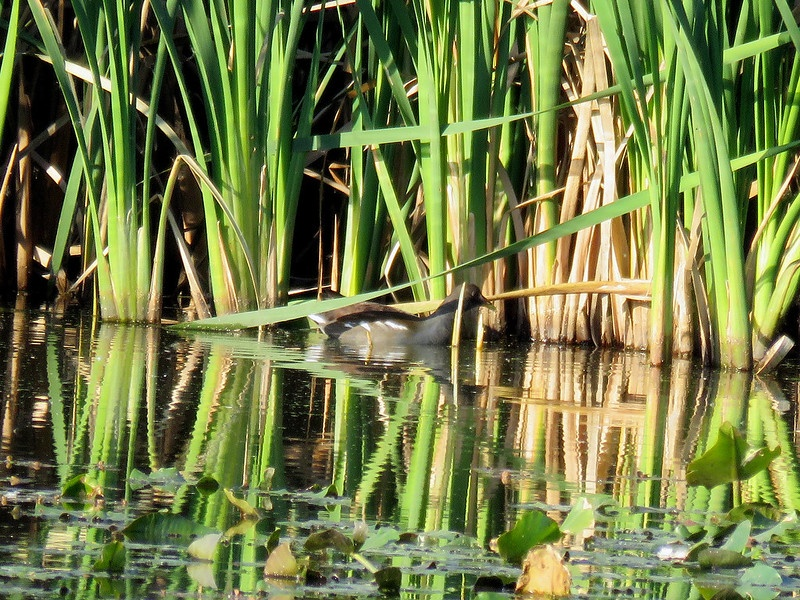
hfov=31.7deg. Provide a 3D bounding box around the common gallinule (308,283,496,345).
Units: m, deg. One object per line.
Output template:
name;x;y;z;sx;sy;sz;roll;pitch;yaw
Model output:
common gallinule;-0.068;0.079;6.637;0.683;0.271;0.252;2;10;-4
